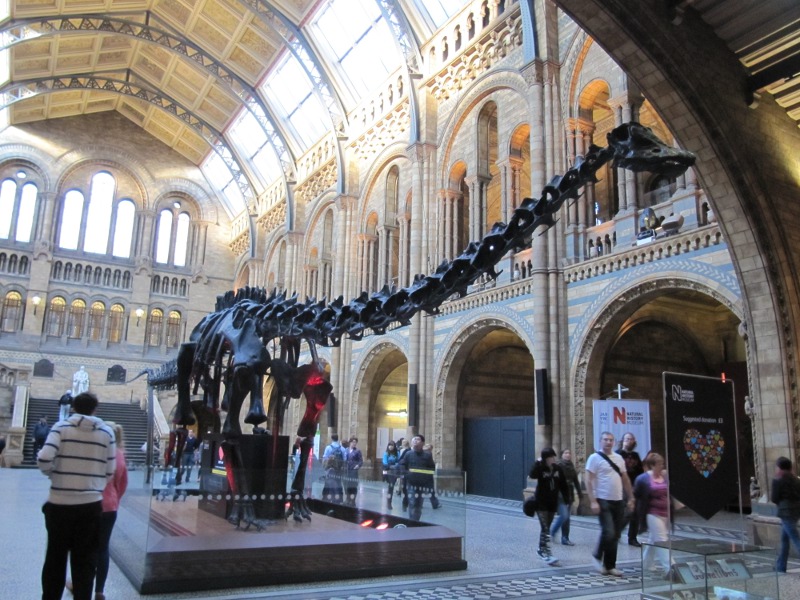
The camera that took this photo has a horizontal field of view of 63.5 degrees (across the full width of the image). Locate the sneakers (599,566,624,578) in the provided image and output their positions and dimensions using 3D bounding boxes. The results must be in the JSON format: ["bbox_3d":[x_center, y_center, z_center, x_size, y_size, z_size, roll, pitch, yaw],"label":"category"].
[{"bbox_3d":[2.658,3.415,8.133,0.248,0.098,0.098,11,-16,-9],"label":"sneakers"}]

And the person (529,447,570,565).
[{"bbox_3d":[2.144,2.880,9.215,0.532,1.513,0.560,4,-12,-9],"label":"person"}]

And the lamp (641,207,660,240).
[{"bbox_3d":[5.115,-1.571,13.220,0.369,0.683,0.351,-7,-57,30],"label":"lamp"}]

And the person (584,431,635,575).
[{"bbox_3d":[2.694,2.594,8.306,0.577,1.758,0.993,-2,-13,19],"label":"person"}]

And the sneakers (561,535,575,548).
[{"bbox_3d":[2.627,3.742,10.077,0.103,0.181,0.267,13,-25,-29],"label":"sneakers"}]
